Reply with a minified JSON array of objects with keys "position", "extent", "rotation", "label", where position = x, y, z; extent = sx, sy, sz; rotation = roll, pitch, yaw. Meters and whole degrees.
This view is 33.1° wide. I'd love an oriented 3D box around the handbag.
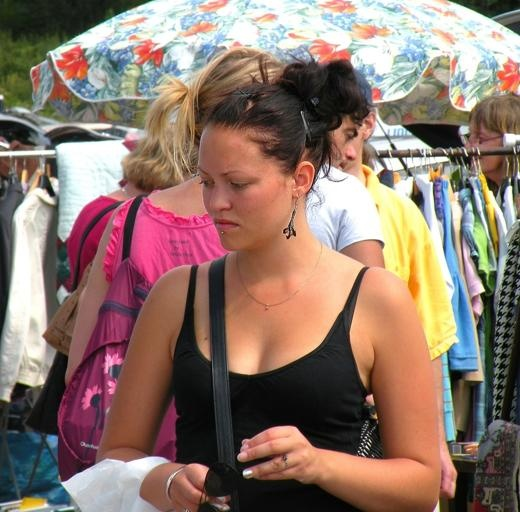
[{"position":[-0.542,0.280,3.006],"extent":[0.363,0.973,0.160],"rotation":[-1,-2,2],"label":"handbag"}]
